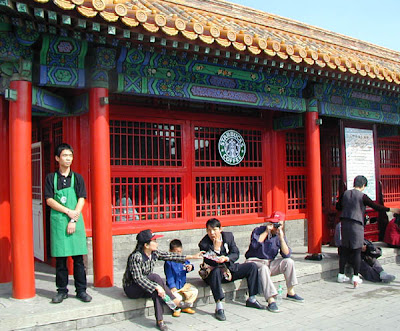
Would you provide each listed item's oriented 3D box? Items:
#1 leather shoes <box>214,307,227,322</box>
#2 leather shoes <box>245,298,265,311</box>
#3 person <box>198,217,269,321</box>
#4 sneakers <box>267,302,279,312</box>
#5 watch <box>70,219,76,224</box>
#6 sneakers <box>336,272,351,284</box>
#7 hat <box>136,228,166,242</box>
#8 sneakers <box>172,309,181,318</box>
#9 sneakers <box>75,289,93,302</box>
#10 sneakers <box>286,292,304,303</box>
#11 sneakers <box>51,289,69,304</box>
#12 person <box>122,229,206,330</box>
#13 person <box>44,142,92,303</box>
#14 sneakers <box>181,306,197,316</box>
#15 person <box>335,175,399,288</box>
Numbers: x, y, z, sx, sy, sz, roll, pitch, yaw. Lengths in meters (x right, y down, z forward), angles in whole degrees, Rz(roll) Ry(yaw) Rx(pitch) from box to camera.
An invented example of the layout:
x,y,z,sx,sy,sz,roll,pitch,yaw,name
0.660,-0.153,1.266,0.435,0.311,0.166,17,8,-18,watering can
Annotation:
x,y,z,sx,sy,sz,roll,pitch,yaw,name
0.271,1.977,4.894,0.147,0.133,0.286,-1,-4,4,leather shoes
0.789,2.001,5.225,0.260,0.110,0.102,-5,-7,31,leather shoes
0.405,1.412,5.253,0.833,1.303,0.621,2,-5,-33,person
1.027,1.982,5.116,0.164,0.123,0.138,-2,-4,8,sneakers
-1.666,0.735,4.794,0.047,0.047,0.050,5,4,3,watch
2.584,2.036,6.594,0.221,0.156,0.128,-5,5,-33,sneakers
-0.672,0.952,4.781,0.270,0.118,0.178,-6,7,-20,hat
-0.311,1.969,4.846,0.057,0.047,0.111,3,3,3,sneakers
-1.503,1.704,4.771,0.095,0.114,0.254,3,-7,-39,sneakers
1.424,2.003,5.515,0.218,0.099,0.098,-3,-1,36,sneakers
-1.801,1.697,4.721,0.082,0.111,0.242,-1,-14,9,sneakers
-0.629,1.445,4.850,0.769,1.188,0.688,-3,-5,28,person
-1.775,0.735,4.862,0.536,2.059,0.320,1,-5,-26,person
-0.155,1.996,5.016,0.215,0.105,0.094,-2,-2,16,sneakers
2.848,1.147,6.733,0.944,1.953,0.706,2,-5,-33,person
